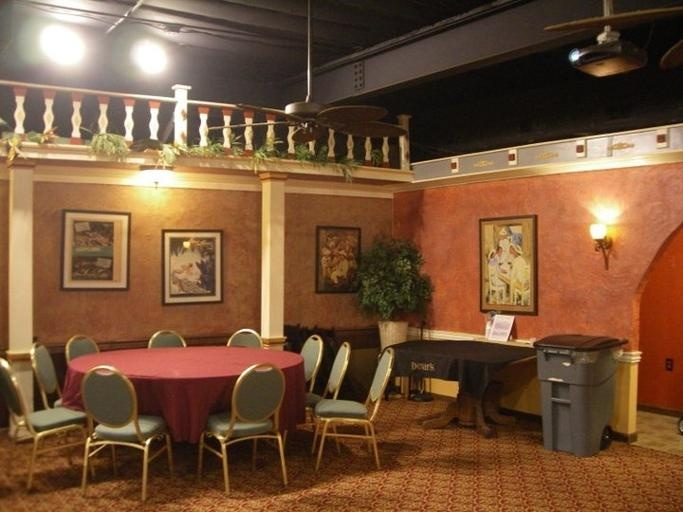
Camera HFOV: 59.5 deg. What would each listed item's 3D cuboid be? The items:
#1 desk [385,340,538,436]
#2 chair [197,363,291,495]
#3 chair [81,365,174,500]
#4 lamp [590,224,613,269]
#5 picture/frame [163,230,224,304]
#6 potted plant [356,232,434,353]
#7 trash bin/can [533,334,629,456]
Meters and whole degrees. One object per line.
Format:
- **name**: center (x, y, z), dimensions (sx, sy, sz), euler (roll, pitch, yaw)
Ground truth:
- **desk**: center (1.499, 1.667, 7.585), dimensions (1.707, 1.025, 1.148), euler (1, 5, 4)
- **chair**: center (-0.965, 1.597, 5.954), dimensions (0.932, 1.251, 0.849), euler (1, 5, 9)
- **chair**: center (-2.117, 1.598, 5.848), dimensions (0.807, 1.248, 1.039), euler (-2, 6, -25)
- **lamp**: center (3.223, -0.120, 7.407), dimensions (0.262, 0.570, 0.222), euler (4, 6, 29)
- **picture/frame**: center (-2.124, 0.145, 8.395), dimensions (1.018, 1.291, 0.089), euler (-1, 2, -25)
- **potted plant**: center (0.826, 0.576, 9.245), dimensions (1.161, 1.625, 0.751), euler (1, 5, 0)
- **trash bin/can**: center (2.668, 1.576, 6.836), dimensions (0.930, 1.268, 0.585), euler (2, 5, 15)
